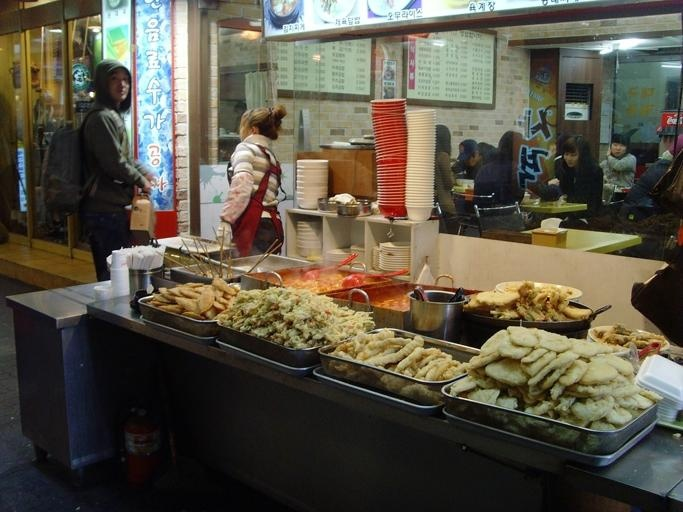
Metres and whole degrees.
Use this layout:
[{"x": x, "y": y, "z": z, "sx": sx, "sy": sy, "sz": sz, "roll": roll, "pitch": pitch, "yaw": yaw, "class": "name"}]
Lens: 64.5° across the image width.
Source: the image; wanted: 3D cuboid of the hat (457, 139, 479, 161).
[{"x": 0.951, "y": -0.797, "z": 4.077, "sx": 0.106, "sy": 0.085, "sz": 0.156, "roll": 14, "pitch": 49, "yaw": 41, "class": "hat"}]

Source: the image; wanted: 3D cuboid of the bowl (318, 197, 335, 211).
[{"x": -0.124, "y": -0.412, "z": 4.395, "sx": 0.096, "sy": 0.106, "sz": 0.210, "roll": -4, "pitch": 13, "yaw": -22, "class": "bowl"}]

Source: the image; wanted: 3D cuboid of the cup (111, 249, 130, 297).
[{"x": -1.283, "y": 0.094, "z": 3.137, "sx": 0.102, "sy": 0.225, "sz": 0.247, "roll": -5, "pitch": 13, "yaw": -26, "class": "cup"}]

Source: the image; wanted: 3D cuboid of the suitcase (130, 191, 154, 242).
[{"x": -1.705, "y": -0.319, "z": 4.633, "sx": 0.183, "sy": 0.536, "sz": 0.373, "roll": -1, "pitch": -10, "yaw": -9, "class": "suitcase"}]

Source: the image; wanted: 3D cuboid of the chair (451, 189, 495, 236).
[{"x": 0.981, "y": -0.331, "z": 4.099, "sx": 0.306, "sy": 0.412, "sz": 0.295, "roll": 4, "pitch": 9, "yaw": 21, "class": "chair"}]

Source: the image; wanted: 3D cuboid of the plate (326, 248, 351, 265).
[{"x": -0.030, "y": -0.003, "z": 4.353, "sx": 0.211, "sy": 0.078, "sz": 0.349, "roll": 2, "pitch": 12, "yaw": 3, "class": "plate"}]

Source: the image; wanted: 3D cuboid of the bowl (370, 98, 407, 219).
[{"x": 0.359, "y": -0.692, "z": 3.924, "sx": 0.271, "sy": 0.834, "sz": 0.166, "roll": 5, "pitch": 12, "yaw": 19, "class": "bowl"}]

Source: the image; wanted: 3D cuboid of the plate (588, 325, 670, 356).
[{"x": 1.185, "y": 0.344, "z": 2.249, "sx": 0.297, "sy": 0.047, "sz": 0.220, "roll": 7, "pitch": 14, "yaw": 26, "class": "plate"}]

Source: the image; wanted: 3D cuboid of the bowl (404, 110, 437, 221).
[{"x": 0.547, "y": -0.618, "z": 3.813, "sx": 0.208, "sy": 0.778, "sz": 0.168, "roll": 2, "pitch": 12, "yaw": 6, "class": "bowl"}]

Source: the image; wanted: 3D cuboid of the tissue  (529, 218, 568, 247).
[{"x": 1.419, "y": -0.158, "z": 3.711, "sx": 0.188, "sy": 0.189, "sz": 0.184, "roll": 3, "pitch": 5, "yaw": 38, "class": "tissue "}]

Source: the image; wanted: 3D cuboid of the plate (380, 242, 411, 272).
[{"x": 0.400, "y": 0.007, "z": 4.035, "sx": 0.207, "sy": 0.145, "sz": 0.207, "roll": -2, "pitch": 4, "yaw": -25, "class": "plate"}]

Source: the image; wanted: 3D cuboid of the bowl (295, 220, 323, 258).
[{"x": -0.274, "y": -0.127, "z": 4.562, "sx": 0.264, "sy": 0.287, "sz": 0.273, "roll": 0, "pitch": 4, "yaw": 0, "class": "bowl"}]

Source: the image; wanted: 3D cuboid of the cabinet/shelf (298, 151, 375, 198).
[{"x": -0.021, "y": -0.688, "z": 4.468, "sx": 0.365, "sy": 0.482, "sz": 0.669, "roll": -10, "pitch": 13, "yaw": -43, "class": "cabinet/shelf"}]

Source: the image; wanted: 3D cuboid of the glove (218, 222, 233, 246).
[{"x": -0.903, "y": -0.171, "z": 4.229, "sx": 0.067, "sy": 0.189, "sz": 0.141, "roll": -3, "pitch": 12, "yaw": 2, "class": "glove"}]

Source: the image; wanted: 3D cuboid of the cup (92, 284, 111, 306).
[{"x": -1.335, "y": 0.220, "z": 3.046, "sx": 0.093, "sy": 0.067, "sz": 0.094, "roll": 1, "pitch": 0, "yaw": 0, "class": "cup"}]

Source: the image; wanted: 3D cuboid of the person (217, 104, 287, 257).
[{"x": -0.718, "y": -0.582, "z": 4.419, "sx": 0.543, "sy": 1.257, "sz": 0.428, "roll": -3, "pitch": 12, "yaw": -18, "class": "person"}]

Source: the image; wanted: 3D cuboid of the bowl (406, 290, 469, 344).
[{"x": 0.420, "y": 0.235, "z": 2.341, "sx": 0.234, "sy": 0.175, "sz": 0.237, "roll": 2, "pitch": 5, "yaw": 0, "class": "bowl"}]

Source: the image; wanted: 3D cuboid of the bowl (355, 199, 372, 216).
[{"x": 0.171, "y": -0.381, "z": 4.262, "sx": 0.133, "sy": 0.087, "sz": 0.135, "roll": 1, "pitch": 0, "yaw": 0, "class": "bowl"}]
